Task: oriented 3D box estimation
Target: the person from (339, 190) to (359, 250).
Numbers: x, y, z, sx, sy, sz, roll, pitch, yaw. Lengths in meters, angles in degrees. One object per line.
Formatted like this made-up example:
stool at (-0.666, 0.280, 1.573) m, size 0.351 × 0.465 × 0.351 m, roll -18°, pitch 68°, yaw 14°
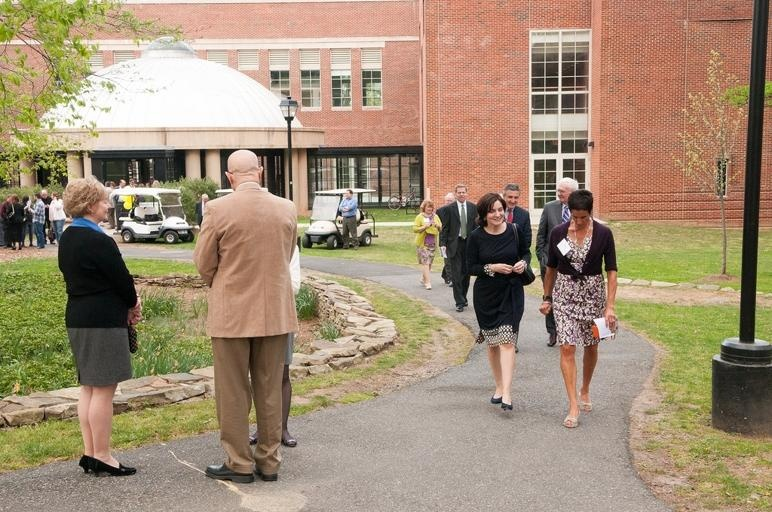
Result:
person at (-1.269, -1.239, 28.579) m, size 0.620 × 1.995 × 0.675 m, roll 0°, pitch 13°, yaw -3°

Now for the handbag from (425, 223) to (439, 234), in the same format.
handbag at (1.090, -0.608, 19.256) m, size 0.309 × 0.400 × 0.222 m, roll 2°, pitch -6°, yaw -12°

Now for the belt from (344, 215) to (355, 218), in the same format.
belt at (-1.208, -1.321, 28.326) m, size 0.362 × 0.091 × 0.086 m, roll -1°, pitch 13°, yaw -7°

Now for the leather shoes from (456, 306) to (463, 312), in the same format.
leather shoes at (1.474, 1.045, 16.670) m, size 0.099 × 0.114 × 0.253 m, roll 0°, pitch -4°, yaw 6°

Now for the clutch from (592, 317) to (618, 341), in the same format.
clutch at (2.751, 0.886, 10.688) m, size 0.333 × 0.325 × 0.265 m, roll -10°, pitch 3°, yaw -31°

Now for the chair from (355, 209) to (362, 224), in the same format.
chair at (-0.909, -1.367, 29.135) m, size 0.318 × 0.415 × 0.389 m, roll -1°, pitch -10°, yaw -3°

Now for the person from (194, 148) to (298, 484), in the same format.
person at (-1.553, 0.696, 9.427) m, size 1.102 × 3.558 × 0.933 m, roll -3°, pitch 13°, yaw -14°

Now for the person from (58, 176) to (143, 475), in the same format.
person at (-3.257, 0.795, 9.486) m, size 0.741 × 3.233 × 0.899 m, roll -2°, pitch 13°, yaw -11°

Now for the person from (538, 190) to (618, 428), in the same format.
person at (2.515, 0.606, 10.928) m, size 0.945 × 2.950 × 1.057 m, roll 3°, pitch 13°, yaw 11°

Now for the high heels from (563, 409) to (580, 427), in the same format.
high heels at (2.403, 2.033, 10.807) m, size 0.205 × 0.230 × 0.355 m, roll 4°, pitch 13°, yaw 14°

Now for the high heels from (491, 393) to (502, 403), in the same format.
high heels at (1.502, 1.908, 11.299) m, size 0.152 × 0.099 × 0.276 m, roll -1°, pitch -5°, yaw 7°

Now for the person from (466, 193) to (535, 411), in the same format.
person at (1.523, 0.581, 11.347) m, size 0.895 × 2.811 × 1.132 m, roll 3°, pitch 13°, yaw 8°

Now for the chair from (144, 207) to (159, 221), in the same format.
chair at (-8.591, -1.518, 30.818) m, size 0.394 × 0.539 × 0.493 m, roll -1°, pitch 3°, yaw -2°
